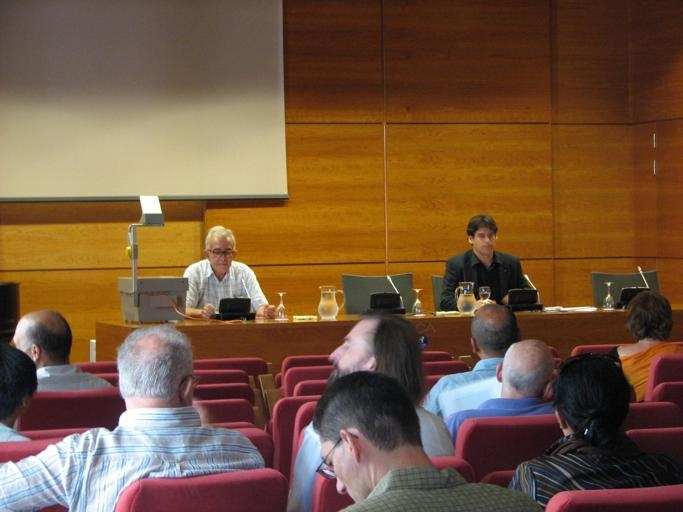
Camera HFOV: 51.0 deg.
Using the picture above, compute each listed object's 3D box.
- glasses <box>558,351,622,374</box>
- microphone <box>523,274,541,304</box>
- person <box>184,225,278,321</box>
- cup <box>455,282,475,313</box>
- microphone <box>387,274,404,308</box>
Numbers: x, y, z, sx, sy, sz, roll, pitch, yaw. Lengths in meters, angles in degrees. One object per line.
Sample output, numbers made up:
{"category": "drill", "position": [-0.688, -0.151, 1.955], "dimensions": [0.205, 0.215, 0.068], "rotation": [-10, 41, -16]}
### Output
{"category": "glasses", "position": [0.836, 0.356, 2.385], "dimensions": [0.212, 0.062, 0.203], "rotation": [0, 2, 16]}
{"category": "microphone", "position": [1.618, 0.276, 6.119], "dimensions": [0.109, 0.057, 0.268], "rotation": [-10, 13, 9]}
{"category": "person", "position": [-0.877, 0.162, 5.562], "dimensions": [0.831, 0.749, 0.793], "rotation": [3, 5, 18]}
{"category": "cup", "position": [0.887, 0.314, 5.319], "dimensions": [0.148, 0.237, 0.210], "rotation": [0, -5, -2]}
{"category": "microphone", "position": [0.437, 0.287, 5.865], "dimensions": [0.076, 0.231, 0.159], "rotation": [-15, -3, -2]}
